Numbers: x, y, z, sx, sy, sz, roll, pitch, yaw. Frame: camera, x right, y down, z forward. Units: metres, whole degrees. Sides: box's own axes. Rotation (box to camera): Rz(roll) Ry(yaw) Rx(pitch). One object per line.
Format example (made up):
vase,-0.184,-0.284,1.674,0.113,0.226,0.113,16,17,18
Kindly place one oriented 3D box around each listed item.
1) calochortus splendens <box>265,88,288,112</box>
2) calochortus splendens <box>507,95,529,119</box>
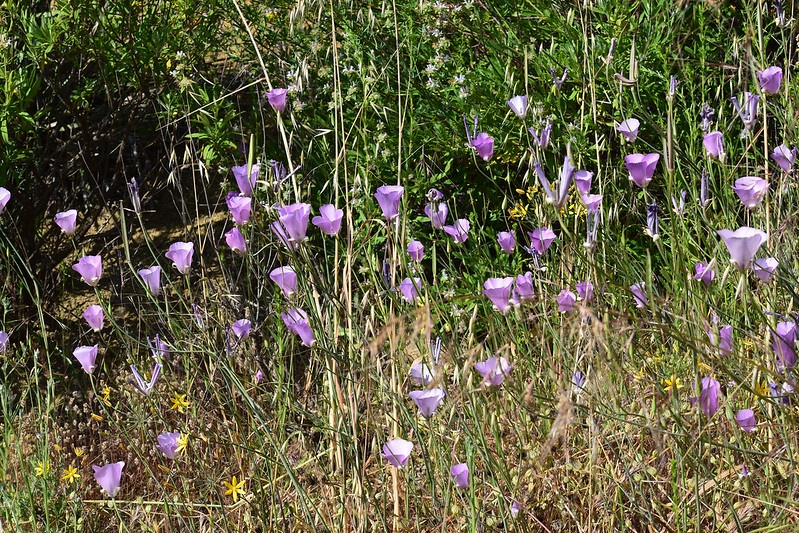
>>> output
calochortus splendens,-0.453,-0.618,2.779,0.070,0.113,0.100,-4,12,6
calochortus splendens,0.478,-0.637,2.993,0.070,0.120,0.179,-3,22,12
